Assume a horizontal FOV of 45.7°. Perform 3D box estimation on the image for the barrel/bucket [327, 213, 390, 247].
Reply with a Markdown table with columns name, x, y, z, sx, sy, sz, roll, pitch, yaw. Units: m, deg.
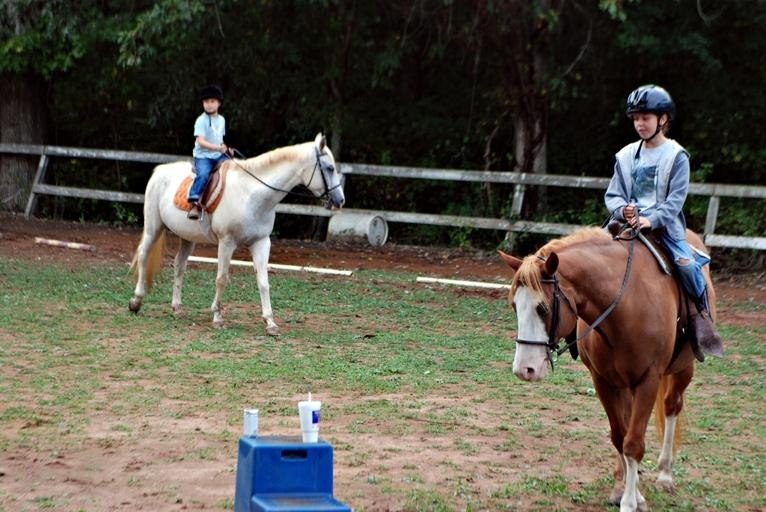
| name | x | y | z | sx | sy | sz | roll | pitch | yaw |
| --- | --- | --- | --- | --- | --- | --- | --- | --- | --- |
| barrel/bucket | -0.597 | -0.624 | 21.323 | 1.312 | 1.052 | 0.961 | 3 | 23 | 19 |

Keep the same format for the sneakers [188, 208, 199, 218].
| name | x | y | z | sx | sy | sz | roll | pitch | yaw |
| --- | --- | --- | --- | --- | --- | --- | --- | --- | --- |
| sneakers | -3.123 | -0.693 | 15.015 | 0.169 | 0.189 | 0.125 | 4 | 2 | 35 |

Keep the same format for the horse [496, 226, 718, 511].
| name | x | y | z | sx | sy | sz | roll | pitch | yaw |
| --- | --- | --- | --- | --- | --- | --- | --- | --- | --- |
| horse | 2.565 | 1.278 | 10.488 | 2.445 | 2.436 | 0.929 | 2 | 2 | -28 |

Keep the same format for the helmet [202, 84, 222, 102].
| name | x | y | z | sx | sy | sz | roll | pitch | yaw |
| --- | --- | --- | --- | --- | --- | --- | --- | --- | --- |
| helmet | -2.761 | -2.652 | 14.986 | 0.262 | 0.232 | 0.505 | 4 | 2 | 33 |

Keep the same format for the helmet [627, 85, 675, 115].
| name | x | y | z | sx | sy | sz | roll | pitch | yaw |
| --- | --- | --- | --- | --- | --- | --- | --- | --- | --- |
| helmet | 3.178 | -1.861 | 10.817 | 0.438 | 0.420 | 0.354 | 16 | -12 | -27 |

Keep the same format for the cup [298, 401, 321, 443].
| name | x | y | z | sx | sy | sz | roll | pitch | yaw |
| --- | --- | --- | --- | --- | --- | --- | --- | --- | --- |
| cup | -0.795 | 1.771 | 9.795 | 0.225 | 0.451 | 0.268 | 2 | 2 | -6 |

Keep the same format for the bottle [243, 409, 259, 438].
| name | x | y | z | sx | sy | sz | roll | pitch | yaw |
| --- | --- | --- | --- | --- | --- | --- | --- | --- | --- |
| bottle | -1.434 | 1.821 | 9.921 | 0.142 | 0.308 | 0.331 | 2 | 2 | -12 |
